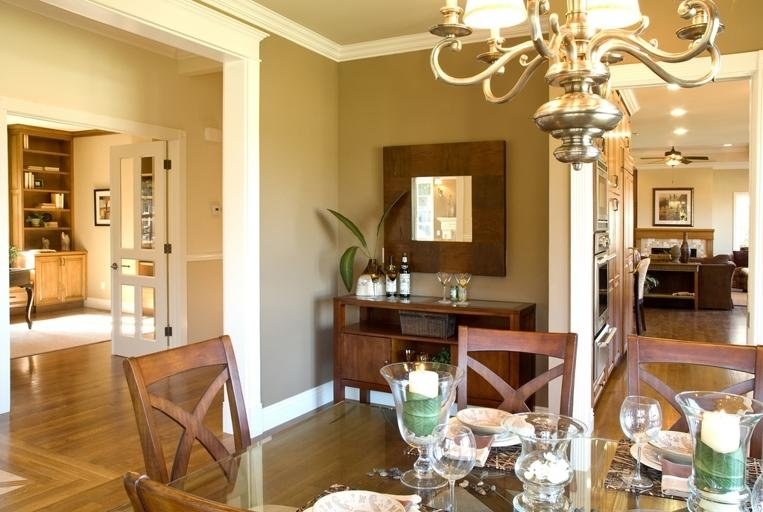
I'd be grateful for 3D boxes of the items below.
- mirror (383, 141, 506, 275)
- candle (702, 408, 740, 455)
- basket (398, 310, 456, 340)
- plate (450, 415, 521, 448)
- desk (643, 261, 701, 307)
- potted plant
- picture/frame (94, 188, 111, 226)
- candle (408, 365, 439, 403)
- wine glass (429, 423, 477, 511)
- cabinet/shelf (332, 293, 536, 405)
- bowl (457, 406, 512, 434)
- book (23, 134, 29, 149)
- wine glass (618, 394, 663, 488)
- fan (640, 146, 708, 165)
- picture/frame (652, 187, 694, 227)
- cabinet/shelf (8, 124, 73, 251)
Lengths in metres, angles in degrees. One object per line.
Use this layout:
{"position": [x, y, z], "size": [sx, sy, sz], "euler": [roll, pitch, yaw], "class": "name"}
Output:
{"position": [0.518, -0.390, 4.687], "size": [1.105, 1.115, 0.074], "euler": [-2, 6, -18], "class": "mirror"}
{"position": [1.079, 0.556, 1.747], "size": [0.115, 0.132, 0.117], "euler": [1, 2, 36], "class": "candle"}
{"position": [0.356, 0.561, 4.352], "size": [0.330, 0.152, 0.213], "euler": [0, -2, 24], "class": "basket"}
{"position": [0.409, 0.691, 2.100], "size": [0.200, 0.029, 0.204], "euler": [0, -2, 37], "class": "plate"}
{"position": [5.346, 0.519, 10.051], "size": [1.261, 0.936, 0.743], "euler": [-1, -3, 30], "class": "desk"}
{"position": [-0.093, -0.092, 4.854], "size": [0.723, 0.974, 0.575], "euler": [-1, -4, 5], "class": "potted plant"}
{"position": [-4.622, -0.790, 9.059], "size": [0.532, 0.630, 0.027], "euler": [4, 5, 33], "class": "picture/frame"}
{"position": [0.149, 0.476, 1.994], "size": [0.099, 0.111, 0.098], "euler": [4, -4, -31], "class": "candle"}
{"position": [0.243, 0.677, 1.875], "size": [0.120, 0.204, 0.152], "euler": [-11, 13, -38], "class": "wine glass"}
{"position": [0.412, 0.878, 4.528], "size": [1.691, 1.060, 0.577], "euler": [0, 0, 31], "class": "cabinet/shelf"}
{"position": [0.449, 0.710, 2.318], "size": [0.168, 0.044, 0.166], "euler": [-1, 1, 0], "class": "bowl"}
{"position": [-5.669, -1.820, 8.669], "size": [0.054, 0.201, 0.180], "euler": [-6, 11, -17], "class": "book"}
{"position": [0.984, 0.680, 2.069], "size": [0.132, 0.313, 0.299], "euler": [3, 12, 29], "class": "wine glass"}
{"position": [5.513, -1.922, 10.273], "size": [0.620, 0.227, 0.627], "euler": [1, 0, 6], "class": "fan"}
{"position": [6.984, -1.197, 12.969], "size": [0.913, 0.977, 0.074], "euler": [2, 8, 19], "class": "picture/frame"}
{"position": [-5.604, -1.067, 8.965], "size": [0.458, 2.077, 1.149], "euler": [1, 11, 21], "class": "cabinet/shelf"}
